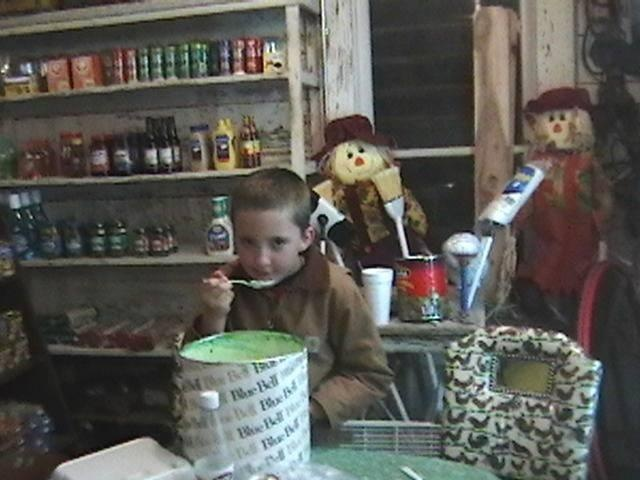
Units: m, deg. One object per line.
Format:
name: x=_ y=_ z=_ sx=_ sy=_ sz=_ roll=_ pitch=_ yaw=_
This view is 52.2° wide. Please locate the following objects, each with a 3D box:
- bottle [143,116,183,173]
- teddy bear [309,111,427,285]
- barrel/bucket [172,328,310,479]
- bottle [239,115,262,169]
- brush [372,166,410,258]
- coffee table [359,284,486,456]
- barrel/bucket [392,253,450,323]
bottle: x=-0.749 y=-0.460 z=3.134 sx=0.154 sy=0.281 sz=0.285 roll=-5 pitch=6 yaw=-14
teddy bear: x=0.215 y=-0.171 z=2.816 sx=0.525 sy=0.787 sz=0.376 roll=-15 pitch=13 yaw=-2
barrel/bucket: x=-0.169 y=0.375 z=1.644 sx=0.312 sy=0.342 sz=0.304 roll=-2 pitch=4 yaw=0
bottle: x=-0.325 y=-0.452 z=3.035 sx=0.104 sy=0.238 sz=0.272 roll=-4 pitch=6 yaw=-5
brush: x=0.306 y=-0.145 z=2.783 sx=0.129 sy=0.429 sz=0.099 roll=-15 pitch=0 yaw=7
coffee table: x=0.365 y=0.511 z=2.553 sx=0.496 sy=0.663 sz=0.485 roll=0 pitch=-2 yaw=1
barrel/bucket: x=0.414 y=0.194 z=2.790 sx=0.251 sy=0.277 sz=0.249 roll=-1 pitch=7 yaw=0
